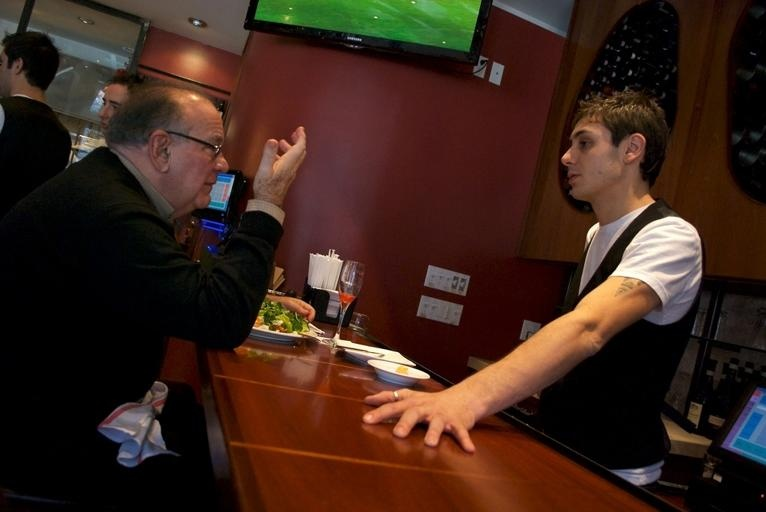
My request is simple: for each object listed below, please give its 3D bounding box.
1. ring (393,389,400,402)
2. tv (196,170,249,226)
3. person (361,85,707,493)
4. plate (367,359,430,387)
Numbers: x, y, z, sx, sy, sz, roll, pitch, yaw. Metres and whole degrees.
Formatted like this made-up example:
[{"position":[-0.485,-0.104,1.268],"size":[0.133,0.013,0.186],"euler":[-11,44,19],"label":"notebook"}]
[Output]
[{"position":[0.039,0.401,1.451],"size":[0.018,0.020,0.021],"euler":[0,5,-1],"label":"ring"},{"position":[-1.006,-0.378,3.220],"size":[0.494,0.451,0.136],"euler":[12,2,42],"label":"tv"},{"position":[0.665,0.049,1.683],"size":[1.107,1.355,0.556],"euler":[4,8,-44],"label":"person"},{"position":[0.048,0.406,1.731],"size":[0.208,0.060,0.171],"euler":[11,7,-2],"label":"plate"}]
